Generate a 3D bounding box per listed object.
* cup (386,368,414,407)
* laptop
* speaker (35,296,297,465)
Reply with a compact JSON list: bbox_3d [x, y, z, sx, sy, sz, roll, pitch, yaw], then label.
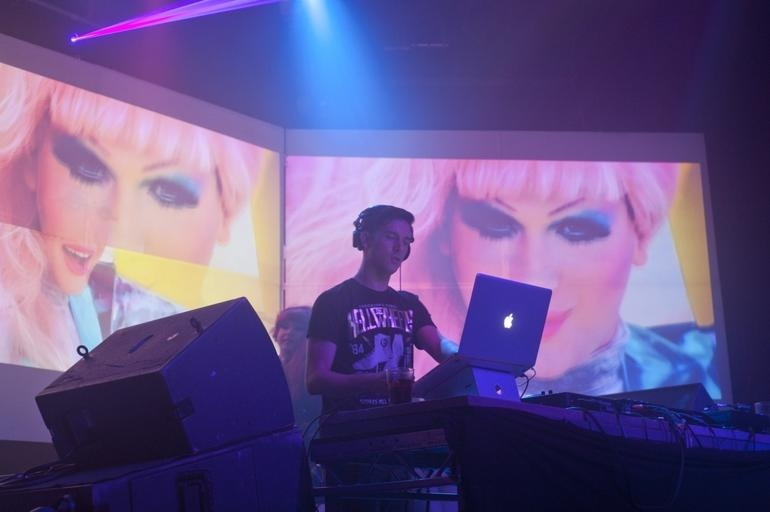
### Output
[{"bbox_3d":[0.065,0.575,2.950,0.130,0.149,0.159,-1,-5,9],"label":"cup"},{"bbox_3d":[0.431,0.456,3.160,0.560,0.534,0.566,15,-30,-40],"label":"laptop"},{"bbox_3d":[-0.999,0.554,2.981,0.833,0.533,0.798,-15,-10,31],"label":"speaker"}]
